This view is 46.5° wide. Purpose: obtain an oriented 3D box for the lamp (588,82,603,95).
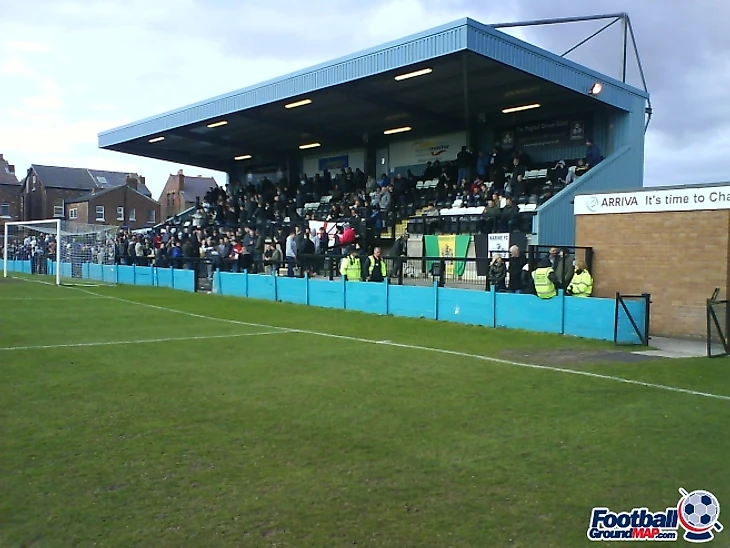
[{"bbox_3d":[7.817,-6.212,28.766,0.174,0.396,0.588,11,16,42],"label":"lamp"}]
